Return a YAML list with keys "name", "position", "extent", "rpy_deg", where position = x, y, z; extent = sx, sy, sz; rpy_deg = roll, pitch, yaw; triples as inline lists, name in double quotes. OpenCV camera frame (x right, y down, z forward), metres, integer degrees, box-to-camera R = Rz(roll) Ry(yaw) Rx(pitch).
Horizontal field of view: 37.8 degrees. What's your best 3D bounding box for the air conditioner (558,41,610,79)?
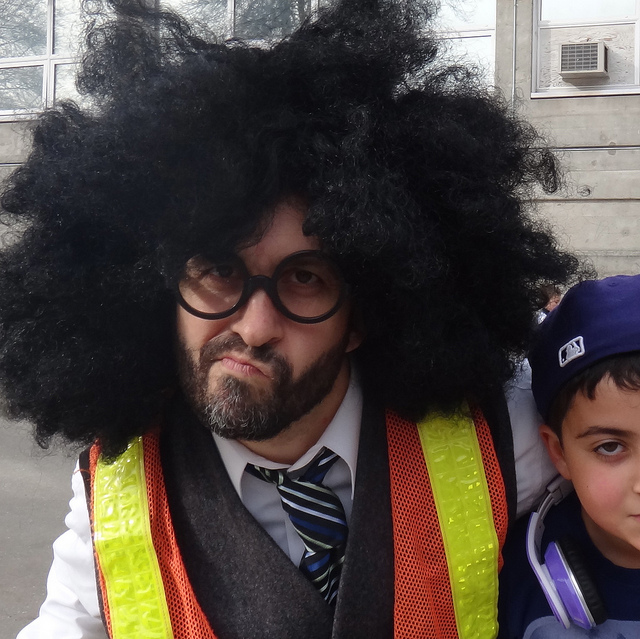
- name: "air conditioner"
  position: [2.369, -2.335, 8.424]
  extent: [0.538, 0.386, 0.303]
  rpy_deg: [0, -7, 12]
